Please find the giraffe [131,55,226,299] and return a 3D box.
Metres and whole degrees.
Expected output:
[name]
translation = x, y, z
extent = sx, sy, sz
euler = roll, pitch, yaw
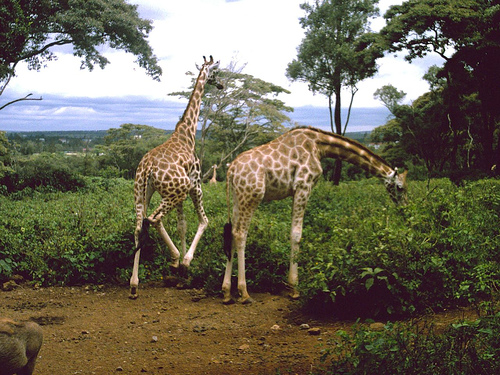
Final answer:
[giraffe]
translation = -1.962, -0.617, 13.175
extent = 2.114, 5.711, 4.171
euler = 0, 9, -5
